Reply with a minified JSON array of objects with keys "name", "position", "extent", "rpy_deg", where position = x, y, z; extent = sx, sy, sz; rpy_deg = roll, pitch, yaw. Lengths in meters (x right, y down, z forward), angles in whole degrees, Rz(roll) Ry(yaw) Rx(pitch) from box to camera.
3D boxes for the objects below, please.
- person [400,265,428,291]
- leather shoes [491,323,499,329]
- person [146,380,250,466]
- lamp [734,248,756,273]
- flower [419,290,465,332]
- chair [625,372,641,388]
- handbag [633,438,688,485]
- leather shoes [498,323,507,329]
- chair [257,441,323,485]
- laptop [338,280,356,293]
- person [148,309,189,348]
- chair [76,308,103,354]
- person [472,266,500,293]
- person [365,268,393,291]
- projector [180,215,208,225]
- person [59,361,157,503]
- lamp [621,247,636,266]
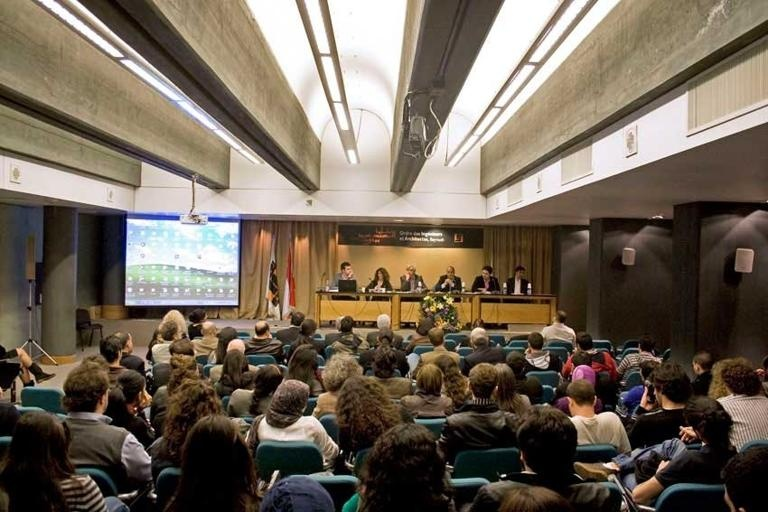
[{"name":"person","position":[0.743,0.573,12.789],"extent":[0.503,1.126,0.372],"rpy_deg":[1,-19,-6]},{"name":"leather shoes","position":[2.756,1.750,12.595],"extent":[0.171,0.116,0.161],"rpy_deg":[10,-12,-29]},{"name":"person","position":[-1.567,1.292,4.181],"extent":[0.612,0.298,0.805],"rpy_deg":[-2,17,-2]},{"name":"lamp","position":[5.535,0.076,7.839],"extent":[0.320,0.372,0.200],"rpy_deg":[2,-7,-13]},{"name":"flower","position":[1.248,1.242,10.834],"extent":[0.870,0.572,0.780],"rpy_deg":[-4,34,-26]},{"name":"chair","position":[3.137,1.560,6.474],"extent":[0.174,0.241,0.198],"rpy_deg":[2,1,11]},{"name":"handbag","position":[2.336,1.694,4.407],"extent":[0.392,0.171,0.396],"rpy_deg":[-24,-15,12]},{"name":"leather shoes","position":[2.877,1.744,12.570],"extent":[0.173,0.175,0.324],"rpy_deg":[-3,-11,12]},{"name":"chair","position":[-0.782,1.672,4.345],"extent":[0.348,0.479,0.394],"rpy_deg":[1,3,4]},{"name":"laptop","position":[-0.811,0.703,11.641],"extent":[0.396,0.265,0.278],"rpy_deg":[1,-2,-1]},{"name":"person","position":[-3.043,0.959,7.397],"extent":[0.557,0.711,0.294],"rpy_deg":[-5,-2,-11]},{"name":"chair","position":[-6.469,1.609,11.296],"extent":[0.541,0.876,1.102],"rpy_deg":[5,-8,-28]},{"name":"person","position":[2.487,0.596,12.441],"extent":[0.700,1.157,0.639],"rpy_deg":[-1,-9,10]},{"name":"person","position":[-0.056,0.616,12.286],"extent":[0.633,0.840,0.488],"rpy_deg":[-1,-8,6]},{"name":"projector","position":[-3.837,-0.735,10.441],"extent":[0.384,0.128,0.376],"rpy_deg":[-2,-3,39]},{"name":"person","position":[-2.395,1.547,4.573],"extent":[0.870,1.246,0.761],"rpy_deg":[3,3,21]},{"name":"lamp","position":[5.071,0.013,10.550],"extent":[0.320,0.378,0.242],"rpy_deg":[1,-6,0]}]
